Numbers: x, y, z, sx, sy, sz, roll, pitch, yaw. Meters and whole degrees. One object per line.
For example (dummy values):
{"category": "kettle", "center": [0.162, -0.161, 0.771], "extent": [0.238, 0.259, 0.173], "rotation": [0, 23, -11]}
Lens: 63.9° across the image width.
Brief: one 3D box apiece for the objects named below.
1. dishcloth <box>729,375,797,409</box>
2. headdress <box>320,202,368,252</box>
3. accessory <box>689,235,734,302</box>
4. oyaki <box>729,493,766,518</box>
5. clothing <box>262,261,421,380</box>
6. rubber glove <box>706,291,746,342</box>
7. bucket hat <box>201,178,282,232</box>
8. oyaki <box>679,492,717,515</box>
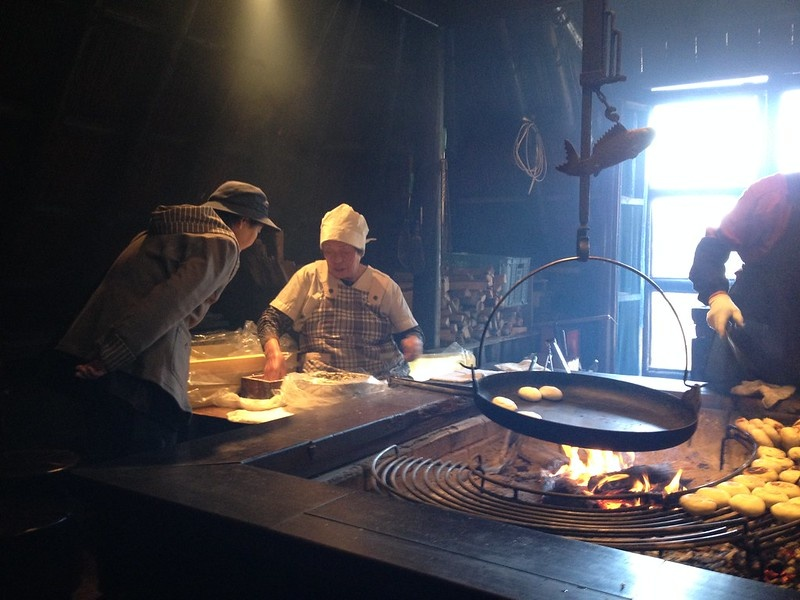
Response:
{"category": "dishcloth", "center": [1.766, 0.435, 3.077], "extent": [0.166, 0.053, 0.164], "rotation": [-7, 6, -13]}
{"category": "headdress", "center": [-0.343, -0.492, 3.972], "extent": [0.290, 0.311, 0.322], "rotation": [4, 8, 26]}
{"category": "accessory", "center": [1.673, -0.175, 3.488], "extent": [0.231, 0.363, 0.151], "rotation": [15, -17, 9]}
{"category": "oyaki", "center": [1.117, 0.649, 2.055], "extent": [0.070, 0.034, 0.069], "rotation": [-3, 1, -20]}
{"category": "clothing", "center": [-0.377, 0.140, 4.182], "extent": [1.157, 0.894, 0.647], "rotation": [0, -6, 1]}
{"category": "rubber glove", "center": [1.638, 0.073, 3.212], "extent": [0.152, 0.248, 0.211], "rotation": [5, 0, 13]}
{"category": "bucket hat", "center": [-0.784, -0.478, 3.237], "extent": [0.278, 0.132, 0.269], "rotation": [20, -2, -29]}
{"category": "oyaki", "center": [0.969, 0.651, 2.061], "extent": [0.067, 0.025, 0.067], "rotation": [-2, 1, -6]}
